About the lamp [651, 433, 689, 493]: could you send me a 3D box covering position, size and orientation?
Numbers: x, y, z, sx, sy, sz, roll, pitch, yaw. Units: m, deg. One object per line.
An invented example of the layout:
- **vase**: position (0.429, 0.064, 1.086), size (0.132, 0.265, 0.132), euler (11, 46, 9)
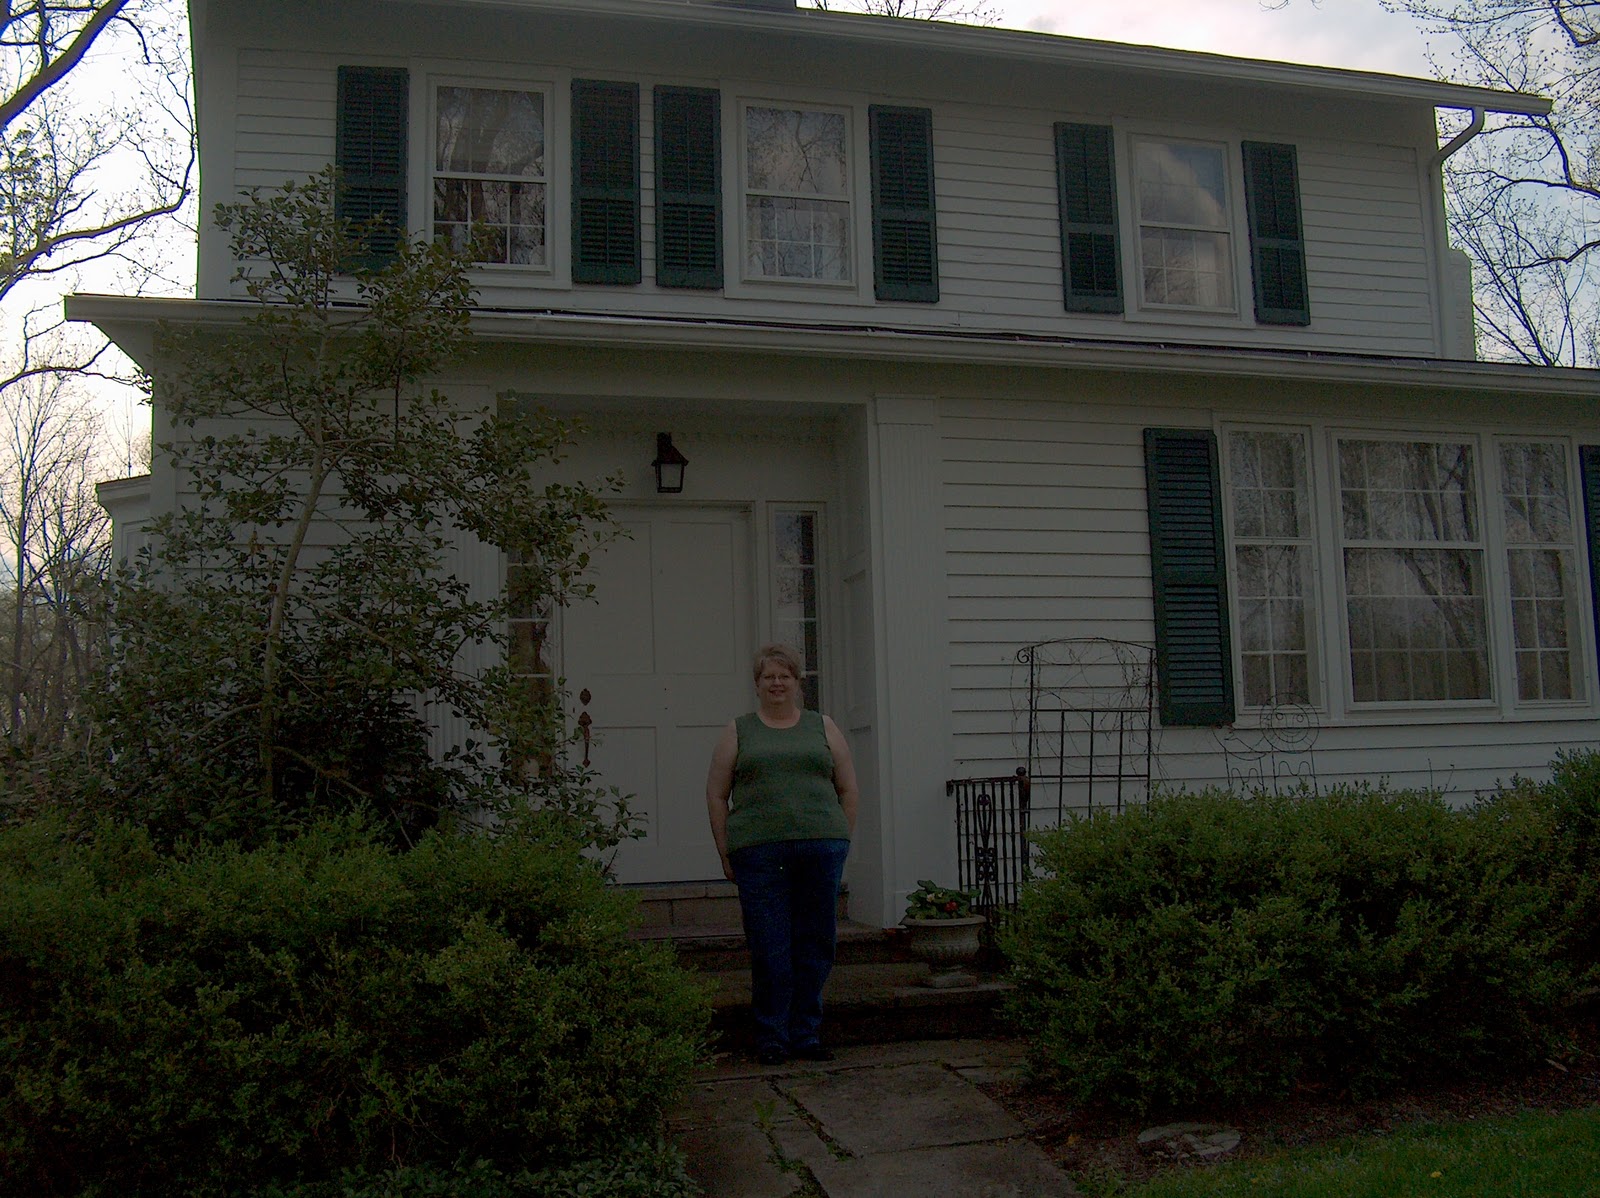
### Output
- **lamp**: position (-0.905, -0.923, 11.323), size (0.318, 0.548, 0.376), euler (-1, 2, -2)

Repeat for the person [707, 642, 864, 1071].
- **person**: position (-0.107, 1.327, 8.695), size (0.768, 2.127, 0.403), euler (2, -6, -3)
